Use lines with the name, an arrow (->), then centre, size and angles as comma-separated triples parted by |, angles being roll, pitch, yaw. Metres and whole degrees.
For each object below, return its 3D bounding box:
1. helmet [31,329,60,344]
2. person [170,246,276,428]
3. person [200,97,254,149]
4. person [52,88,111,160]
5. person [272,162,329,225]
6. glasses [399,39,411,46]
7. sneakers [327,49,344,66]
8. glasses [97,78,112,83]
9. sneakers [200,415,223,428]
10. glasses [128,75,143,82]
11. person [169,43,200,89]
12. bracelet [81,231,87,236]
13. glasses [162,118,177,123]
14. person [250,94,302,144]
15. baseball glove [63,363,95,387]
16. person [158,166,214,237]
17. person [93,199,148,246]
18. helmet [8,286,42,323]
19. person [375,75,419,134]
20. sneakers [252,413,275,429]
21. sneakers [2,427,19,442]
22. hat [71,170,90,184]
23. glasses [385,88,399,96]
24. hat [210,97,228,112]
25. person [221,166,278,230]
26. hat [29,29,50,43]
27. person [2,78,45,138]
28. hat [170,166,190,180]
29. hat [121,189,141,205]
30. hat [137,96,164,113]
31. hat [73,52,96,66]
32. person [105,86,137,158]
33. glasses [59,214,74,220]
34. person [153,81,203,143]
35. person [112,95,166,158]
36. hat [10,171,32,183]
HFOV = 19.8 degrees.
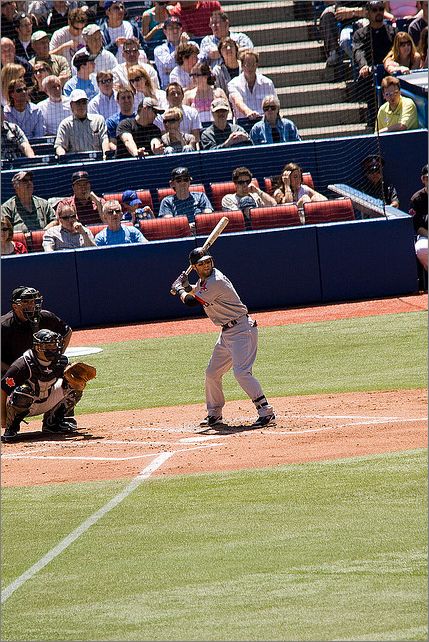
helmet -> -1.295, 0.114, 9.255 | 0.142, 0.085, 0.114 | 7, -9, -2
person -> 0.067, 0.114, 9.691 | 0.590, 1.410, 0.994 | -6, 6, -15
person -> 0.158, -2.660, 16.490 | 0.704, 0.631, 0.876 | -6, 6, -9
person -> -1.826, -2.603, 16.488 | 0.821, 1.061, 0.753 | -8, 12, -20
person -> 1.128, -1.554, 15.864 | 0.432, 0.953, 0.709 | -11, -1, -22
glasses -> 2.843, -4.115, 18.060 | 0.108, 0.041, 0.101 | -2, -4, -7
sneakers -> 1.813, -3.963, 18.392 | 0.156, 0.182, 0.240 | 11, -31, -33
glasses -> -1.530, -3.304, 16.737 | 0.197, 0.068, 0.214 | -5, 5, -9
sneakers -> -0.030, 0.798, 9.690 | 0.207, 0.091, 0.069 | -3, 5, -25
glasses -> -1.112, -3.308, 16.657 | 0.209, 0.079, 0.083 | -1, 7, 37
person -> -0.405, -3.647, 17.509 | 0.510, 0.812, 0.420 | 2, 24, 10
bracelet -> -1.655, -1.096, 15.252 | 0.054, 0.071, 0.081 | -2, 6, 28
glasses -> -0.620, -2.680, 16.252 | 0.149, 0.053, 0.269 | -5, 5, -4
person -> 0.883, -2.727, 16.558 | 0.734, 0.612, 0.750 | -6, 6, -18
baseball glove -> -1.059, 0.413, 9.458 | 0.171, 0.214, 0.076 | -33, 22, 16
person -> -0.398, -1.539, 15.545 | 0.719, 0.967, 0.713 | -7, -5, 7
person -> -1.275, -1.203, 15.315 | 0.841, 0.587, 0.335 | -10, 2, -22
helmet -> -1.506, -0.126, 9.717 | 0.244, 0.293, 0.218 | -7, 6, -20
person -> 2.624, -3.098, 17.404 | 0.586, 0.770, 0.828 | -4, 6, 10
sneakers -> 0.389, 0.760, 9.366 | 0.218, 0.092, 0.078 | -10, 7, -26
sneakers -> -1.617, 0.889, 9.578 | 0.067, 0.084, 0.199 | 3, 8, 4
hat -> -1.732, -1.832, 15.351 | 0.158, 0.117, 0.228 | -10, -15, -12
glasses -> 2.514, -3.247, 17.225 | 0.197, 0.116, 0.227 | -4, 5, 9
hat -> 0.058, -2.869, 16.132 | 0.226, 0.181, 0.352 | -5, 5, -2
person -> 0.432, -1.439, 15.685 | 0.551, 1.084, 0.577 | -1, -11, -30
hat -> -2.554, -4.144, 17.551 | 0.204, 0.150, 0.275 | -11, 2, -23
person -> -2.666, -2.905, 16.752 | 0.596, 0.489, 0.859 | -27, -29, -19
hat -> -0.453, -1.877, 15.374 | 0.163, 0.115, 0.225 | -4, -7, -4
hat -> -1.081, -1.572, 15.542 | 0.157, 0.131, 0.225 | -21, 21, -38
hat -> -0.851, -2.853, 16.092 | 0.280, 0.152, 0.195 | 0, 9, -15
hat -> -1.884, -3.740, 17.303 | 0.297, 0.166, 0.173 | -29, 33, -5
person -> -1.238, -2.639, 16.328 | 0.493, 1.054, 0.627 | -2, -7, 9
glasses -> -1.844, -1.281, 15.115 | 0.181, 0.066, 0.134 | -5, 5, -6
person -> -0.535, -2.662, 16.787 | 0.691, 1.108, 0.499 | -4, -3, -11
person -> -1.037, -2.579, 16.375 | 0.445, 0.989, 0.601 | -22, 43, -33
hat -> -2.443, -1.777, 15.100 | 0.155, 0.083, 0.226 | -14, -1, -30
